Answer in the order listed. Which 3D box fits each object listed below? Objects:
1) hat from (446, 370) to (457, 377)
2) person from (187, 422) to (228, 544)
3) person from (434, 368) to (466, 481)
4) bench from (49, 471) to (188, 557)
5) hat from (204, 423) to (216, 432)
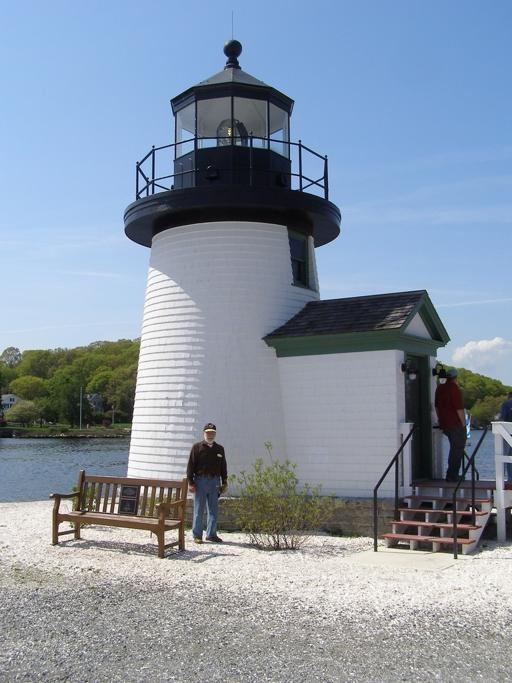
[{"bbox_3d":[3.377,0.551,10.894,0.120,0.156,0.154,3,8,13],"label":"hat"},{"bbox_3d":[-0.703,2.093,9.200,0.558,1.719,0.512,-4,-6,-6],"label":"person"},{"bbox_3d":[3.331,1.407,10.629,0.396,1.884,0.620,-3,-7,-11],"label":"person"},{"bbox_3d":[-1.977,2.438,9.031,1.973,1.003,0.693,-3,-7,26],"label":"bench"},{"bbox_3d":[-0.669,1.267,9.259,0.137,0.107,0.189,4,-19,-4],"label":"hat"}]
